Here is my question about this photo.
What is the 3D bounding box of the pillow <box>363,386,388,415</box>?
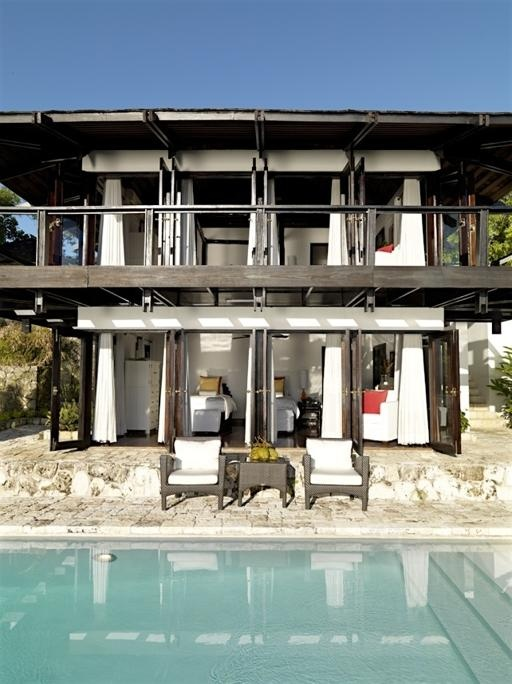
[{"bbox_3d":[1.924,0.967,11.228,0.430,0.438,0.129,5,4,44],"label":"pillow"}]

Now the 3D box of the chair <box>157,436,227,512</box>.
[{"bbox_3d":[-0.802,1.722,8.857,0.800,0.923,1.067,1,-7,-7],"label":"chair"}]

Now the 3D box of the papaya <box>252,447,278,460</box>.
[{"bbox_3d":[0.098,1.443,8.792,0.173,0.118,0.234,4,2,2],"label":"papaya"}]

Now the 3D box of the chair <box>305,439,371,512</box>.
[{"bbox_3d":[0.989,1.732,8.843,0.763,0.943,1.062,0,-8,5],"label":"chair"}]

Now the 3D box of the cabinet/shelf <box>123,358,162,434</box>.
[{"bbox_3d":[-2.207,1.074,13.294,0.593,1.412,0.753,1,4,-5],"label":"cabinet/shelf"}]

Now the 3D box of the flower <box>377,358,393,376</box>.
[{"bbox_3d":[2.716,0.556,14.326,0.353,0.380,0.308,3,-5,-25],"label":"flower"}]

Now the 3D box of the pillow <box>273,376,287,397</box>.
[{"bbox_3d":[0.546,1.038,15.472,0.257,0.333,0.494,1,2,4],"label":"pillow"}]

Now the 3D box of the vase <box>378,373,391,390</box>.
[{"bbox_3d":[2.538,0.806,13.537,0.193,0.337,0.203,-7,13,-32],"label":"vase"}]

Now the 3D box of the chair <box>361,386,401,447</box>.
[{"bbox_3d":[1.951,1.253,11.425,0.807,0.920,0.828,0,-8,8],"label":"chair"}]

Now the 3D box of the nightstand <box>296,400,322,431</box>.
[{"bbox_3d":[1.253,1.532,14.335,0.492,0.547,0.938,1,-9,3],"label":"nightstand"}]

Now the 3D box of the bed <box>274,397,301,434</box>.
[{"bbox_3d":[0.614,1.565,13.601,0.443,0.655,1.273,1,5,3],"label":"bed"}]

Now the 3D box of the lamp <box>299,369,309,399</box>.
[{"bbox_3d":[1.140,0.982,16.312,0.228,0.634,0.255,1,4,2],"label":"lamp"}]
